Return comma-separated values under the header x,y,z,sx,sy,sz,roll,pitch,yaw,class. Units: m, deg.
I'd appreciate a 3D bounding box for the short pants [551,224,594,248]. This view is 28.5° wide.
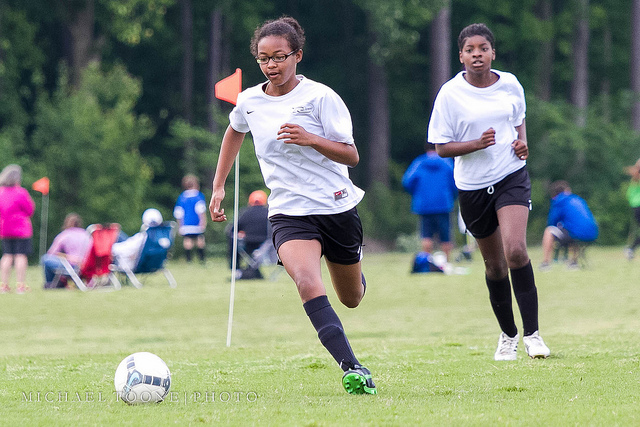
x,y,z,sx,sy,sz,roll,pitch,yaw,class
5.833,0.478,29.806,0.695,0.300,0.523,28,-10,-13,short pants

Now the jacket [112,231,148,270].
x,y,z,sx,sy,sz,roll,pitch,yaw,class
-4.192,0.775,28.043,0.569,0.988,0.377,6,-1,6,jacket

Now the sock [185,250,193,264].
x,y,z,sx,sy,sz,roll,pitch,yaw,class
-3.440,1.104,32.774,0.129,0.313,0.277,-3,1,-18,sock

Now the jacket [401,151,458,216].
x,y,z,sx,sy,sz,roll,pitch,yaw,class
2.570,-0.661,29.509,1.788,1.835,1.284,0,-1,4,jacket

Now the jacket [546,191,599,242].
x,y,z,sx,sy,sz,roll,pitch,yaw,class
6.037,0.117,29.566,0.963,1.015,1.254,-31,56,-25,jacket

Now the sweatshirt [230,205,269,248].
x,y,z,sx,sy,sz,roll,pitch,yaw,class
-1.575,0.192,29.051,0.673,0.852,0.444,-3,1,-5,sweatshirt

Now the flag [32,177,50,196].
x,y,z,sx,sy,sz,roll,pitch,yaw,class
-6.625,-0.658,29.757,0.344,0.415,0.872,-3,1,-10,flag

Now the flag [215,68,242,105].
x,y,z,sx,sy,sz,roll,pitch,yaw,class
-1.608,-2.228,21.879,0.423,0.604,0.936,-3,1,-6,flag
